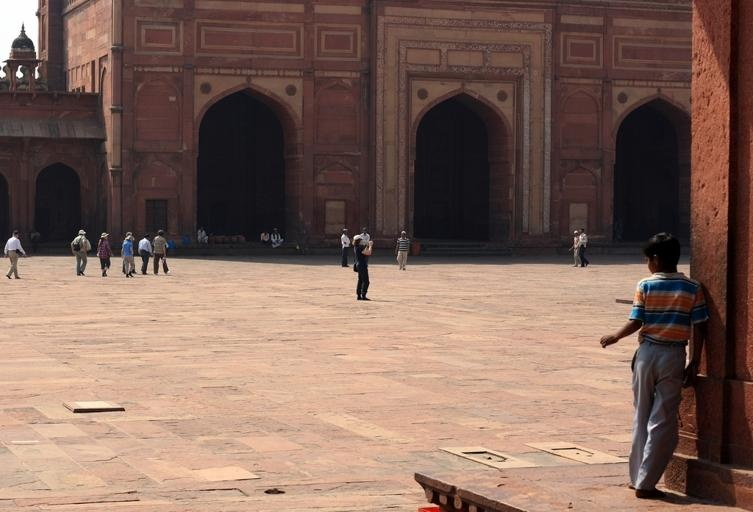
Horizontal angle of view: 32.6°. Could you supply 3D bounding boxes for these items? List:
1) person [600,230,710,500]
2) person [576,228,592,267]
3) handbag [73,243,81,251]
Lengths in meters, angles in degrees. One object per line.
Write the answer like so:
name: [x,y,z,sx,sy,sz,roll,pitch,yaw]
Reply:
person: [2.346,0.902,10.773,0.651,2.189,0.470,1,-1,-31]
person: [5.781,-0.249,36.222,0.324,1.037,1.207,1,0,9]
handbag: [-7.178,-0.215,31.015,0.179,0.150,0.298,1,0,-10]
